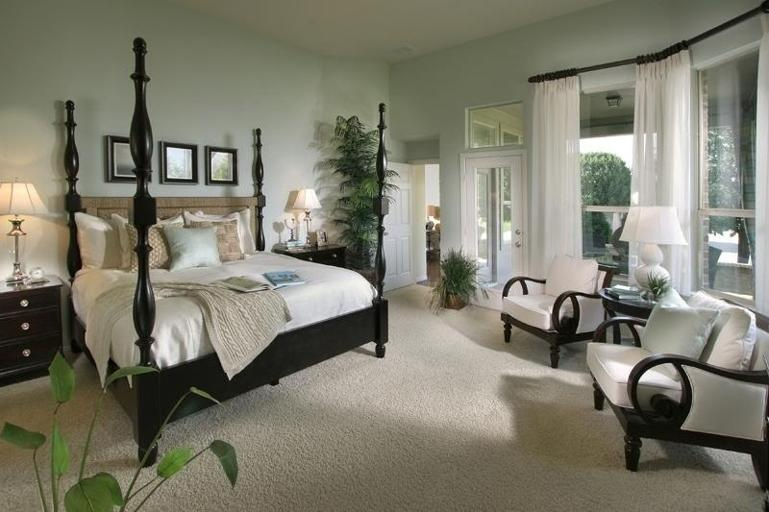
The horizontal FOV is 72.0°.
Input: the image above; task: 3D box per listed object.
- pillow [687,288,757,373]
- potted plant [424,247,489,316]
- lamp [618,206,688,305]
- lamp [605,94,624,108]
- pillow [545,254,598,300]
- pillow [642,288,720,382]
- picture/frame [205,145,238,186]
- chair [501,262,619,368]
[{"bbox_3d":[2.930,0.582,4.558,0.173,0.573,0.572,33,51,4],"label":"pillow"},{"bbox_3d":[1.103,0.290,8.366,0.848,1.024,0.980,6,8,39],"label":"potted plant"},{"bbox_3d":[2.944,-0.094,5.848,0.679,0.980,0.734,-1,6,1],"label":"lamp"},{"bbox_3d":[3.019,-2.065,6.953,0.151,0.178,0.197,-2,4,-38],"label":"lamp"},{"bbox_3d":[2.281,0.249,6.468,0.280,0.536,0.650,-7,10,-35],"label":"pillow"},{"bbox_3d":[2.653,0.692,4.877,0.328,0.657,0.714,4,5,-5],"label":"pillow"},{"bbox_3d":[-2.283,-1.294,7.338,0.068,0.679,0.562,2,3,42],"label":"picture/frame"},{"bbox_3d":[2.005,0.544,6.638,1.253,1.423,1.175,-3,5,-27],"label":"chair"}]
